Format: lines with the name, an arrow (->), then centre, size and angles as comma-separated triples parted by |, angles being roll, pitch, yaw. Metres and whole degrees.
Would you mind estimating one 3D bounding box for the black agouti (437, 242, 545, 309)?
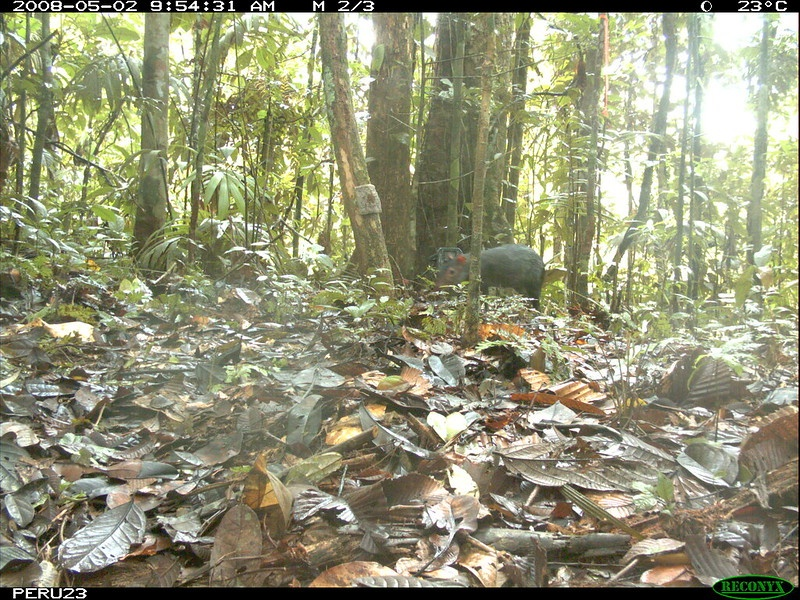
black agouti -> 0.590, -0.172, 4.327 | 0.782, 0.436, 0.549 | 2, 3, -15
